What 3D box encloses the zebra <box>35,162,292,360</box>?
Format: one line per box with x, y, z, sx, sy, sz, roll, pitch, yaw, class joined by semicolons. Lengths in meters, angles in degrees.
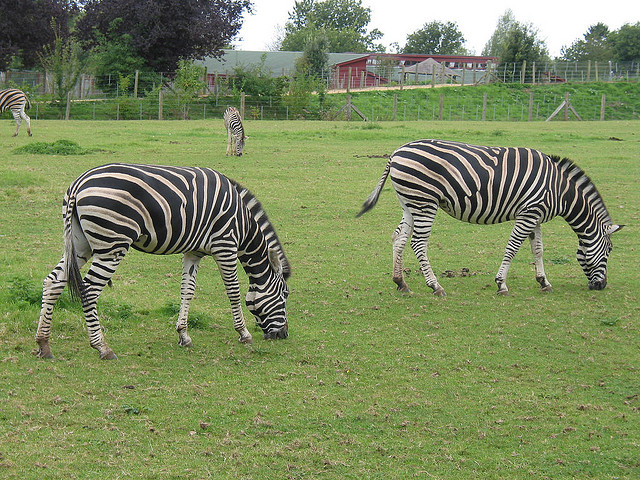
-2.008;0.305;11.573;3.952;2.739;1.133;0;4;-39;zebra
